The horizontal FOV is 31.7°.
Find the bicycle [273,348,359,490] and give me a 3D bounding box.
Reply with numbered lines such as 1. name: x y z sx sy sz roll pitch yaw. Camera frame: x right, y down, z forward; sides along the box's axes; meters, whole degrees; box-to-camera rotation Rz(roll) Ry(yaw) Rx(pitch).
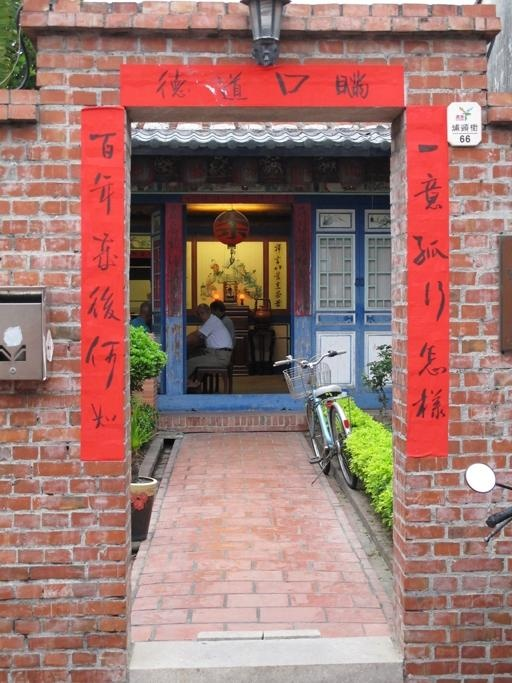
1. bicycle: 0.590 0.625 8.155 0.582 0.749 1.275 -18 15 -4

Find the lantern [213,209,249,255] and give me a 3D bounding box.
1. lantern: -0.300 -1.330 10.771 0.491 0.615 0.460 -1 1 -21

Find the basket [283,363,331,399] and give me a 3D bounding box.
1. basket: 0.497 0.344 8.257 0.464 0.272 0.273 -4 35 -18
